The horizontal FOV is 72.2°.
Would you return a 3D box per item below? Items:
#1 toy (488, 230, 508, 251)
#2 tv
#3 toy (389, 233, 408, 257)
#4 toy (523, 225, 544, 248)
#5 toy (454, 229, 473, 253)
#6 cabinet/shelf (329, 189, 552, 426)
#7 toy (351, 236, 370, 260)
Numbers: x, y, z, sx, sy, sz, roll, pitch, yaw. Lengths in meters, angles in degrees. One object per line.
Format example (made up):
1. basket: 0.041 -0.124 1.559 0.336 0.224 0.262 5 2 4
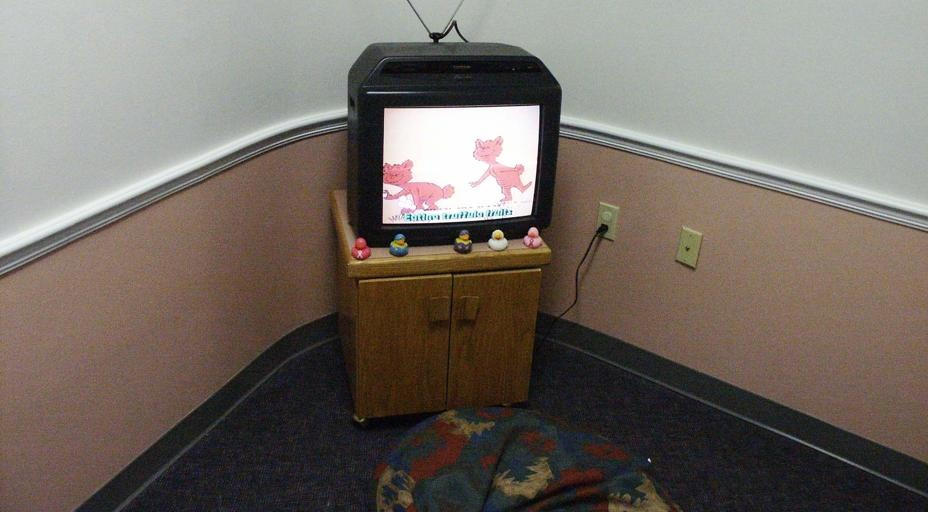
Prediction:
1. toy: 0.142 -0.067 2.714 0.082 0.079 0.083 0 9 -3
2. tv: -0.061 -0.459 2.624 0.767 0.707 0.411 -2 23 -9
3. toy: -0.270 -0.039 2.699 0.084 0.088 0.086 -14 30 -34
4. toy: 0.293 -0.085 2.751 0.091 0.087 0.086 1 12 2
5. toy: -0.005 -0.062 2.736 0.088 0.093 0.090 1 22 -5
6. cabinet/shelf: -0.162 0.094 3.118 0.939 0.856 0.984 -4 24 -10
7. toy: -0.425 -0.034 2.629 0.085 0.081 0.084 -5 10 -36
